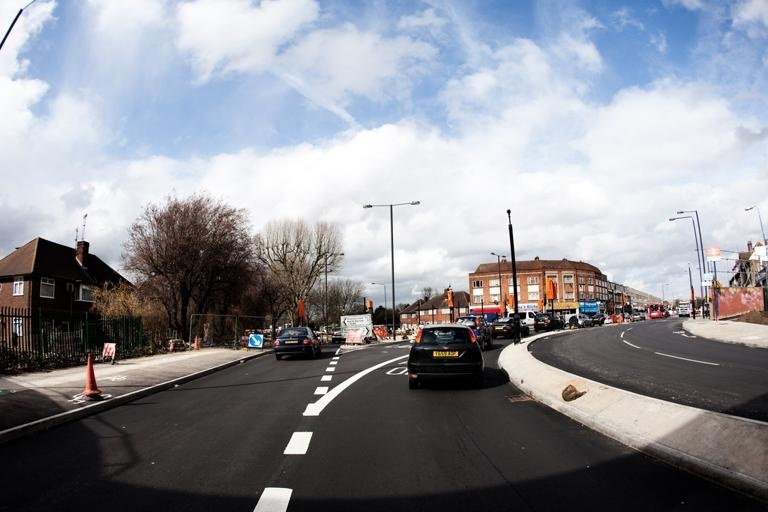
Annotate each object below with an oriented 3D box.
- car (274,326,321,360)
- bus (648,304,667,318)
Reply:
[{"bbox_3d":[-4.258,4.185,24.824,1.877,1.491,1.285,1,-2,-16],"label":"car"},{"bbox_3d":[51.470,10.353,97.310,2.066,2.488,5.177,-8,-17,35],"label":"bus"}]
